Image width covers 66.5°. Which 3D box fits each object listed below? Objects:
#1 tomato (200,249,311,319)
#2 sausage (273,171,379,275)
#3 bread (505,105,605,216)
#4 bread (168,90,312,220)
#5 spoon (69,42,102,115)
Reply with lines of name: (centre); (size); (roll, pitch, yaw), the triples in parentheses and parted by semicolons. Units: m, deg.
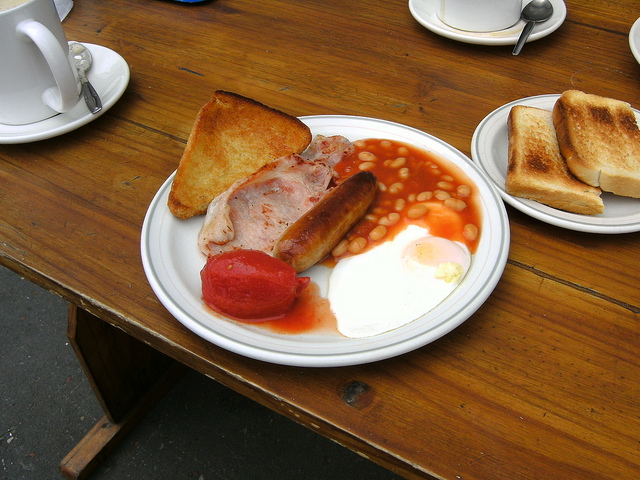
tomato: (-0.122, 0.078, 0.851); (0.166, 0.070, 0.112); (-5, 63, -2)
sausage: (0.026, -0.049, 0.973); (0.089, 0.084, 0.287); (17, 50, 35)
bread: (0.507, -0.191, 1.060); (0.196, 0.071, 0.306); (12, 63, 7)
bread: (-0.187, -0.215, 1.082); (0.309, 0.071, 0.299); (31, 62, 5)
spoon: (-0.664, -0.464, 1.377); (0.077, 0.267, 0.037); (-20, 86, -19)
